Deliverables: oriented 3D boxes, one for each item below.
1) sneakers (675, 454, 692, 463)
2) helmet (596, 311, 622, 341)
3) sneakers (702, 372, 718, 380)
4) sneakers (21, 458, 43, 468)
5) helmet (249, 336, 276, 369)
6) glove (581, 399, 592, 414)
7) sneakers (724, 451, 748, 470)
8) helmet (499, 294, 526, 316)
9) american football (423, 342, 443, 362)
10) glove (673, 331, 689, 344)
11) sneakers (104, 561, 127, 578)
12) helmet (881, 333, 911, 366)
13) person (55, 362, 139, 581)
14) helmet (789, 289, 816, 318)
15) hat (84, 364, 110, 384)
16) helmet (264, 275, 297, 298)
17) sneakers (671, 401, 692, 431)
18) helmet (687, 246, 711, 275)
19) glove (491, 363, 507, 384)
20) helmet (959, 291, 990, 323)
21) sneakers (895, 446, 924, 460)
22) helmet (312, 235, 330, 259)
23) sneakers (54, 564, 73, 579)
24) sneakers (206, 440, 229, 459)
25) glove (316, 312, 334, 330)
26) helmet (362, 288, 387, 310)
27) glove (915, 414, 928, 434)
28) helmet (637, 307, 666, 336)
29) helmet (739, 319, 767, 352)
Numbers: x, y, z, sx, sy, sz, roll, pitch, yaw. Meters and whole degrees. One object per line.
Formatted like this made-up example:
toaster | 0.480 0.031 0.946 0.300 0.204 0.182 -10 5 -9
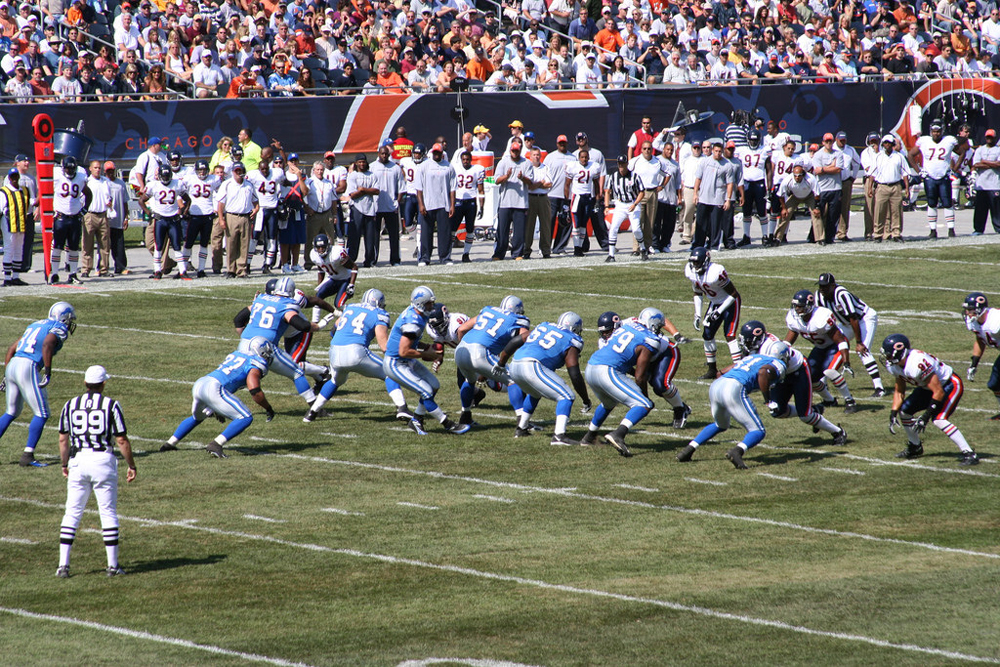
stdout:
sneakers | 2.461 1.660 23.555 0.186 0.105 0.146 1 1 -8
helmet | 1.503 -0.087 24.548 0.299 0.402 0.444 1 1 4
sneakers | 3.256 0.654 27.424 0.212 0.119 0.470 1 1 6
sneakers | -6.232 1.707 23.275 0.263 0.109 0.195 1 1 -16
helmet | -3.278 0.259 24.069 0.353 0.412 0.423 18 11 25
glove | 1.222 1.091 25.531 0.095 0.127 0.307 4 10 10
sneakers | 3.064 1.656 23.303 0.380 0.247 0.132 -13 22 -40
helmet | 0.145 -0.396 24.930 0.285 0.253 0.285 1 1 -7
american football | -0.967 0.259 24.921 0.249 0.103 0.245 12 -10 -31
glove | 2.919 0.080 28.766 0.257 0.194 0.749 -7 -4 1
sneakers | -4.429 2.711 20.120 0.301 0.132 0.098 -3 17 -20
helmet | 5.276 0.188 23.420 0.420 0.369 0.319 -29 10 -14
person | -4.736 1.584 20.493 0.876 2.137 1.133 1 0 -14
helmet | 4.387 -0.438 25.602 0.376 0.365 0.322 -23 12 -33
hat | -5.179 0.522 22.454 0.312 0.229 0.429 2 19 -3
helmet | -3.224 -0.664 25.489 0.277 0.263 0.357 19 -23 -25
sneakers | 2.545 1.174 25.039 0.157 0.207 0.462 3 37 20
helmet | 3.132 -1.164 27.818 0.311 0.399 0.372 1 0 6
glove | -0.018 0.548 24.754 0.212 0.256 0.443 1 1 10
helmet | 6.850 -0.380 25.348 0.369 0.425 0.542 1 1 15
sneakers | 5.498 1.598 23.550 0.409 0.133 0.205 -8 -21 40
helmet | -3.028 -1.483 29.526 0.322 0.361 0.360 0 -29 -2
sneakers | -5.033 2.733 20.127 0.145 0.144 0.325 2 6 -13
sneakers | -3.857 1.554 23.694 0.238 0.203 0.266 1 1 -10
glove | -2.896 -0.214 28.665 0.146 0.159 0.555 39 23 10
helmet | -1.842 -0.497 25.364 0.323 0.305 0.256 -32 32 -30
glove | 5.638 1.201 23.528 0.139 0.250 0.413 1 1 14
helmet | 2.123 -0.195 24.369 0.398 0.285 0.317 13 -41 -25
helmet | 3.413 0.049 23.801 0.381 0.418 0.325 1 0 8
